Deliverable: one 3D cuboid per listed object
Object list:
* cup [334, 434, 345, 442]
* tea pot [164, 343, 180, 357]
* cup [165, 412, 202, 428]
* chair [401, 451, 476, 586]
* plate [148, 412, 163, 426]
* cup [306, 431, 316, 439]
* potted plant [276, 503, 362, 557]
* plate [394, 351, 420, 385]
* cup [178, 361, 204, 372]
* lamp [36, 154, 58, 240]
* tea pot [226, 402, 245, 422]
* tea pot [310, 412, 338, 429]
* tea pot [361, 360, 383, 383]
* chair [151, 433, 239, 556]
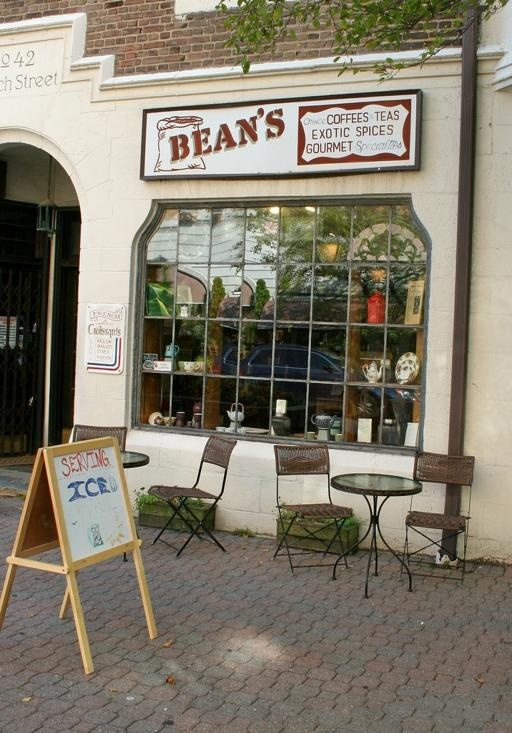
[{"bbox_3d":[0.796,0.673,6.353,0.076,0.075,0.075,1,-3,0],"label":"cup"},{"bbox_3d":[-0.884,-0.162,7.114,0.157,0.143,0.099,1,-2,11],"label":"tea pot"},{"bbox_3d":[-0.762,0.561,7.059,0.398,0.150,0.157,3,-3,29],"label":"cup"},{"bbox_3d":[1.472,1.209,5.407,0.628,0.904,0.749,5,4,35],"label":"chair"},{"bbox_3d":[-1.062,0.564,7.161,0.140,0.138,0.033,-40,-19,9],"label":"plate"},{"bbox_3d":[0.536,0.669,6.492,0.075,0.053,0.074,1,-2,0],"label":"cup"},{"bbox_3d":[0.461,1.430,5.736,0.593,0.433,0.580,1,1,18],"label":"potted plant"},{"bbox_3d":[1.410,0.014,6.173,0.230,0.284,0.067,30,16,35],"label":"plate"},{"bbox_3d":[-0.671,0.003,7.034,0.118,0.074,0.189,-2,-3,37],"label":"cup"},{"bbox_3d":[-2.898,-2.404,9.435,0.250,1.102,0.672,3,-1,-16],"label":"lamp"},{"bbox_3d":[-0.193,0.473,6.813,0.150,0.193,0.189,2,-7,-16],"label":"tea pot"},{"bbox_3d":[0.664,0.523,6.453,0.195,0.087,0.126,0,1,-6],"label":"tea pot"},{"bbox_3d":[1.099,0.048,6.292,0.101,0.170,0.191,-9,13,-41],"label":"tea pot"},{"bbox_3d":[-0.575,1.123,5.948,0.700,0.971,0.518,0,1,-34],"label":"chair"}]
